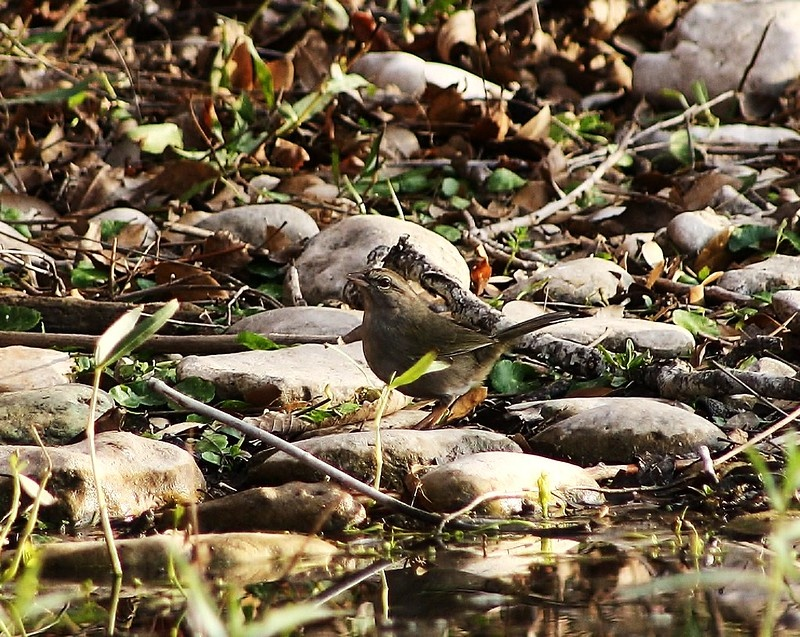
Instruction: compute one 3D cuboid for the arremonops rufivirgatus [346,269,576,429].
[{"bbox_3d":[0.188,0.106,4.117,1.143,0.572,0.364,4,13,-31],"label":"arremonops rufivirgatus"}]
